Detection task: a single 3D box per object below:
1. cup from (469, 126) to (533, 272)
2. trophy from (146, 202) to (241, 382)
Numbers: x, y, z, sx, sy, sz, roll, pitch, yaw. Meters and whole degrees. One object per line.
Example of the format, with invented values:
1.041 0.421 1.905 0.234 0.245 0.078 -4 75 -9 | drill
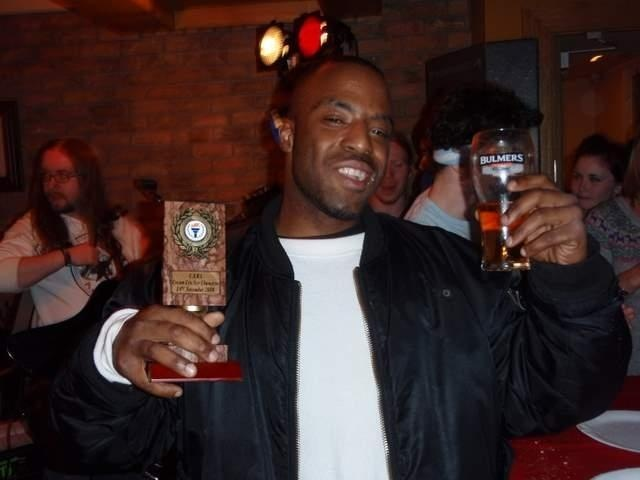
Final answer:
0.555 -0.125 1.838 0.185 0.419 0.142 0 8 15 | cup
-0.407 0.146 1.924 0.310 0.536 0.293 1 4 -7 | trophy
